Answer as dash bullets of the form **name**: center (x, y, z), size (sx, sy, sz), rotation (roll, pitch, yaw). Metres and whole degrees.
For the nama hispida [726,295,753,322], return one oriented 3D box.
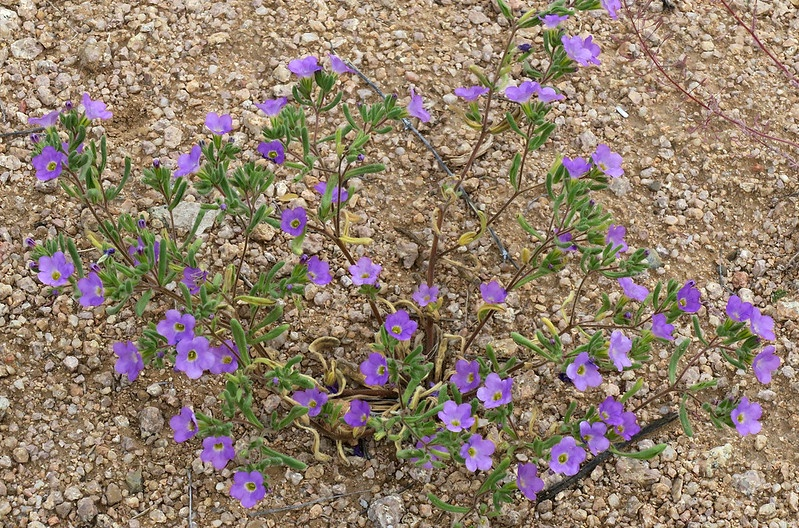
- **nama hispida**: center (1.736, 0.225, 4.552), size (0.116, 0.063, 0.137), rotation (17, 84, -4)

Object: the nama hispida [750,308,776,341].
- **nama hispida**: center (1.829, 0.314, 4.491), size (0.152, 0.092, 0.149), rotation (7, 67, -10)
